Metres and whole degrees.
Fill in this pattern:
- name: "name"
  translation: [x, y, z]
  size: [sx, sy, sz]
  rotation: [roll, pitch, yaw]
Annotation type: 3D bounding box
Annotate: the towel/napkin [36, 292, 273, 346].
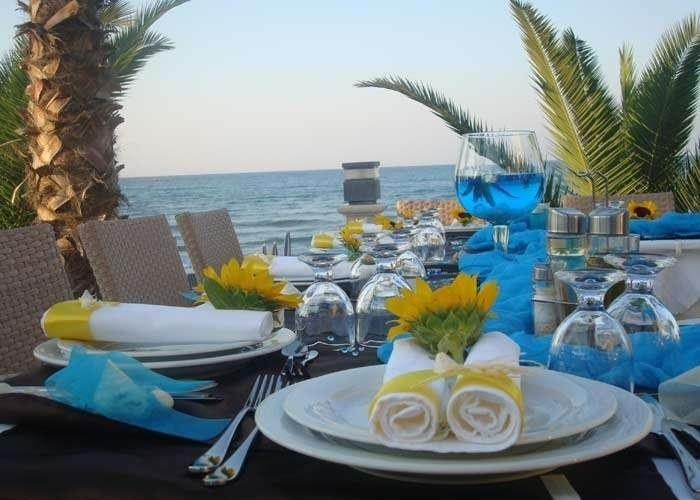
- name: "towel/napkin"
  translation: [-0.297, 0.087, 0.882]
  size: [0.268, 0.069, 0.239]
  rotation: [0, 5, 12]
